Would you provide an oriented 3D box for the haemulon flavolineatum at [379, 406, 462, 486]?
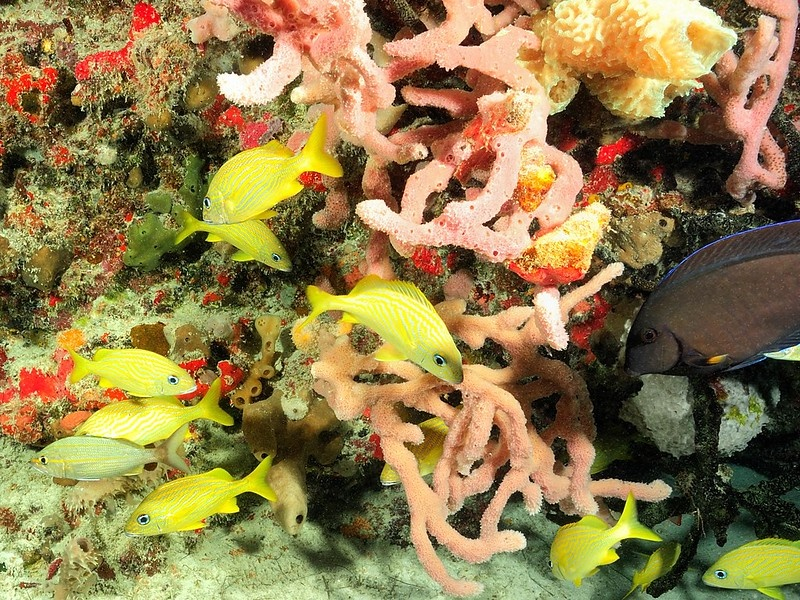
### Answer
[{"bbox_3d":[0.159,1.010,6.141,0.294,0.110,0.575,25,69,21],"label":"haemulon flavolineatum"}]

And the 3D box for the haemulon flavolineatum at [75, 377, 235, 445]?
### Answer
[{"bbox_3d":[-1.778,0.790,6.430,1.078,0.476,0.236,-10,25,-5],"label":"haemulon flavolineatum"}]
